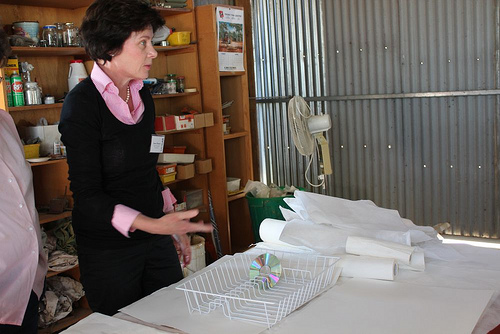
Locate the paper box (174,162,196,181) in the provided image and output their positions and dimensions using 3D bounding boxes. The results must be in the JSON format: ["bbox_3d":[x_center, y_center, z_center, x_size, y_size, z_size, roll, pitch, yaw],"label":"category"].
[{"bbox_3d":[-0.683,0.021,4.135,0.148,0.180,0.268,4,8,27],"label":"paper box"}]

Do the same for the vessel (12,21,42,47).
[{"bbox_3d":[-1.880,-1.140,3.276,0.187,0.200,0.187,22,24,10],"label":"vessel"}]

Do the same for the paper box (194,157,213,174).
[{"bbox_3d":[-0.502,-0.032,4.246,0.162,0.121,0.160,0,8,21],"label":"paper box"}]

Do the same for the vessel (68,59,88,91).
[{"bbox_3d":[-1.556,-0.814,3.557,0.175,0.301,0.178,-16,22,-37],"label":"vessel"}]

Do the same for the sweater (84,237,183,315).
[{"bbox_3d":[-0.690,0.627,2.254,0.442,0.600,0.222,-12,8,-39],"label":"sweater"}]

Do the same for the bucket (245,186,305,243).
[{"bbox_3d":[0.272,0.473,4.588,0.635,0.653,0.596,-1,4,0],"label":"bucket"}]

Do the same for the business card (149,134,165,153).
[{"bbox_3d":[-0.561,-0.143,2.345,0.026,0.098,0.107,9,6,11],"label":"business card"}]

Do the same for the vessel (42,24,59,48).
[{"bbox_3d":[-1.704,-1.104,3.327,0.118,0.186,0.116,-9,20,-36],"label":"vessel"}]

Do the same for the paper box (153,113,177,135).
[{"bbox_3d":[-0.867,-0.435,3.972,0.186,0.181,0.191,-4,4,-37],"label":"paper box"}]

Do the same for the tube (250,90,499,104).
[{"bbox_3d":[1.486,-0.878,4.888,2.806,0.130,0.178,3,12,23],"label":"tube"}]

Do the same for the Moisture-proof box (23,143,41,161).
[{"bbox_3d":[-1.704,-0.123,3.044,0.044,0.142,0.145,8,18,40],"label":"Moisture-proof box"}]
